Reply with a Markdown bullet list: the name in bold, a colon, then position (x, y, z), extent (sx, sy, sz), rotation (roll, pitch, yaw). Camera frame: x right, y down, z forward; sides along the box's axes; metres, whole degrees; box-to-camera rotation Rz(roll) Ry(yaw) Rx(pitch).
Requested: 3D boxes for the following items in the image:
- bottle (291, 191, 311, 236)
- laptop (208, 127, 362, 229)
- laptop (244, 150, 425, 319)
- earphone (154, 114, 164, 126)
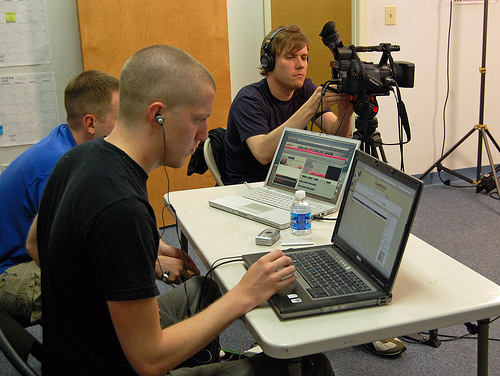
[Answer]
- **bottle**: position (0.198, 0.093, 1.683), extent (0.081, 0.167, 0.081), rotation (-3, 13, 1)
- **laptop**: position (0.157, -0.077, 1.846), extent (0.473, 0.317, 0.510), rotation (13, 16, 40)
- **laptop**: position (0.257, 0.118, 1.370), extent (0.525, 0.380, 0.573), rotation (7, 16, 28)
- **earphone**: position (-0.256, -0.192, 1.213), extent (0.018, 0.028, 0.009), rotation (-17, 11, -2)
